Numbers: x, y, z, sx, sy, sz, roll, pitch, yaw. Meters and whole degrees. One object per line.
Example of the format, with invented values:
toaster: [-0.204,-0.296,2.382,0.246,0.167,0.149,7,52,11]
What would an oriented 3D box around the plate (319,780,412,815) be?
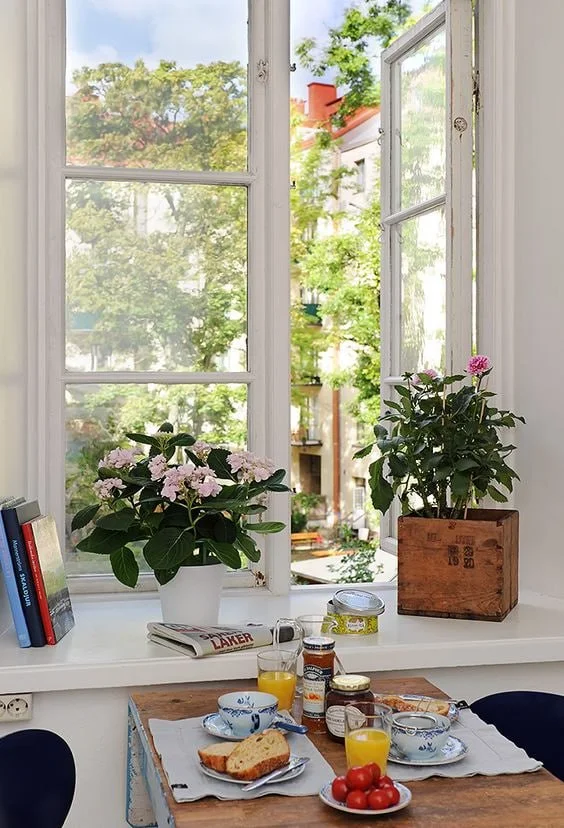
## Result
plate: [0.100,0.456,1.025,0.111,0.026,0.089,0,3,3]

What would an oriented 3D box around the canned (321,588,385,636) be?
canned: [0.141,0.396,1.780,0.131,0.072,0.116,-1,5,1]

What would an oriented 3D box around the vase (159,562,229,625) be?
vase: [-0.166,0.371,1.785,0.110,0.141,0.150,2,4,42]

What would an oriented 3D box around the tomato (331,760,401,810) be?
tomato: [0.097,0.428,1.017,0.053,0.024,0.051,2,-2,15]

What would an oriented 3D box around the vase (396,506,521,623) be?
vase: [0.369,0.306,1.882,0.247,0.205,0.249,0,1,3]

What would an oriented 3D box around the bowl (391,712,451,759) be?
bowl: [0.182,0.426,1.152,0.077,0.043,0.074,1,0,0]

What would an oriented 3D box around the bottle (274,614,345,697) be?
bottle: [0.036,0.383,1.389,0.106,0.105,0.066,12,-32,-28]

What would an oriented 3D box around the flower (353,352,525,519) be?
flower: [0.369,0.056,1.951,0.361,0.360,0.334,4,-13,-5]

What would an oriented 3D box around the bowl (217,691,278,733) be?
bowl: [-0.052,0.410,1.203,0.063,0.035,0.063,1,1,0]

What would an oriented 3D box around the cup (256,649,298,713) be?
cup: [-0.007,0.411,1.311,0.054,0.072,0.051,-12,-16,-4]

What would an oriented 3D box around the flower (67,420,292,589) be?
flower: [-0.225,0.186,1.879,0.463,0.235,0.415,-16,16,-40]
